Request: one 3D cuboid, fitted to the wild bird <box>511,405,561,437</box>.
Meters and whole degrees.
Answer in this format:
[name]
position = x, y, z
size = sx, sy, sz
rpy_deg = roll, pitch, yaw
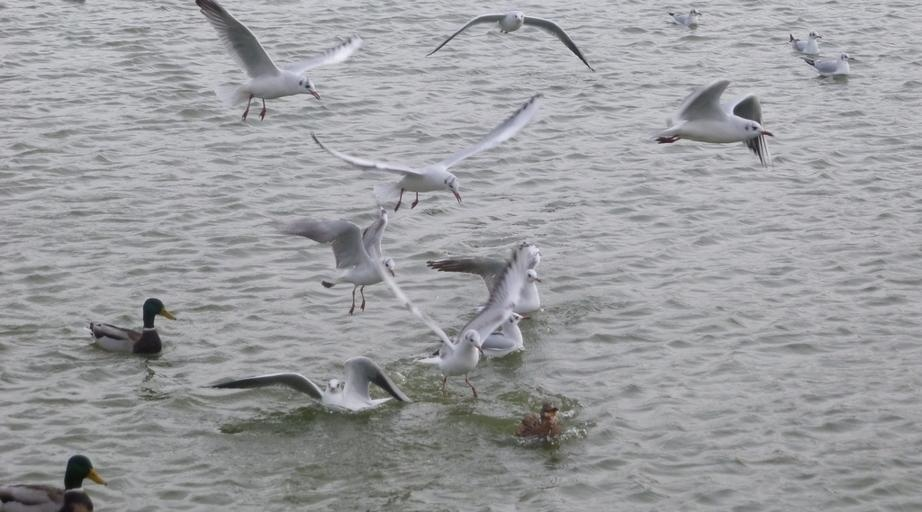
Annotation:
[wild bird]
position = 1.711, 3.554, 31.151
size = 0.891, 0.610, 0.650
rpy_deg = 5, 56, -3
